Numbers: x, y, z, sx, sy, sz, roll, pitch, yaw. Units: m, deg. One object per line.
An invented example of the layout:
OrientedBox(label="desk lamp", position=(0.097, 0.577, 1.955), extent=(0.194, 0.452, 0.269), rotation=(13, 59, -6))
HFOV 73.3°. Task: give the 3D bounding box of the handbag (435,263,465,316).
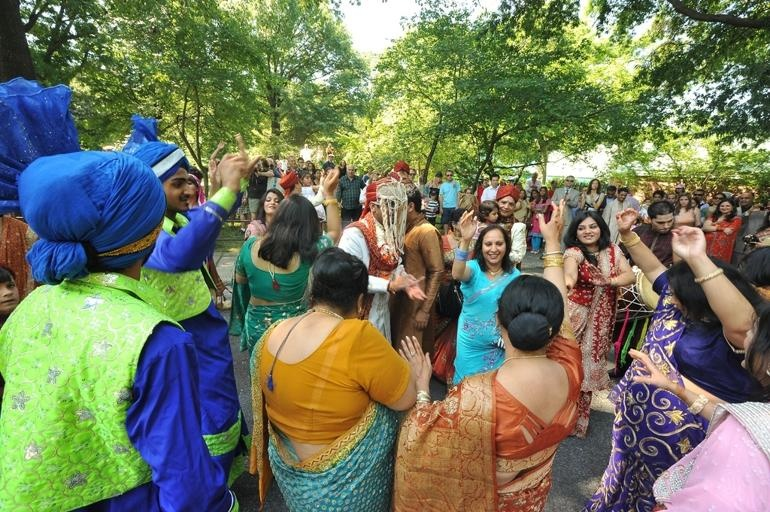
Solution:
OrientedBox(label="handbag", position=(0.627, 0.323, 4.936), extent=(0.226, 0.483, 0.487), rotation=(2, -9, -10))

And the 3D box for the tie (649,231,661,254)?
OrientedBox(label="tie", position=(2.955, -0.151, 5.670), extent=(0.051, 0.200, 0.210), rotation=(17, 32, 29))

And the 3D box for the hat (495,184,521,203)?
OrientedBox(label="hat", position=(1.485, -0.746, 6.126), extent=(0.222, 0.289, 0.265), rotation=(4, -1, -12))
